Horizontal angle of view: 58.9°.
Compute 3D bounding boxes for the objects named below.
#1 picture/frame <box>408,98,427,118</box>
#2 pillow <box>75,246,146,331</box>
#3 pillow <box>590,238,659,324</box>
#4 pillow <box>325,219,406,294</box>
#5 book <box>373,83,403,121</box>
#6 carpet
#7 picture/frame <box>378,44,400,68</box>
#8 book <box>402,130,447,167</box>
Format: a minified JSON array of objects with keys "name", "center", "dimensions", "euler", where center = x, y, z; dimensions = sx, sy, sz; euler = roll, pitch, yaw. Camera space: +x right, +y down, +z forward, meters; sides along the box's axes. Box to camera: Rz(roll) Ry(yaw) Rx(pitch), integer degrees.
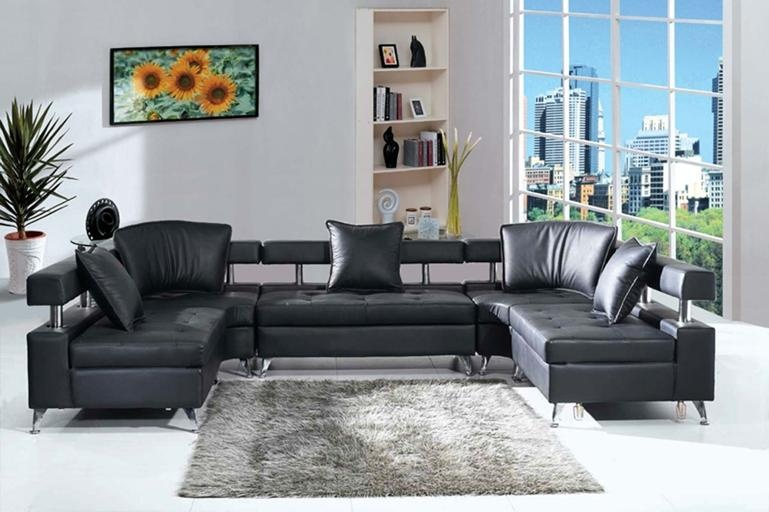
[{"name":"picture/frame","center":[0.373,-1.715,7.874],"dimensions":[0.262,0.316,0.031],"euler":[-6,-14,-29]},{"name":"pillow","center":[-1.837,0.208,4.601],"dimensions":[0.156,0.505,0.518],"euler":[-26,1,11]},{"name":"pillow","center":[1.754,0.176,5.005],"dimensions":[0.469,0.738,0.822],"euler":[1,-1,4]},{"name":"pillow","center":[-0.155,0.015,5.551],"dimensions":[0.612,0.580,0.226],"euler":[-1,-15,-1]},{"name":"book","center":[0.071,-1.717,7.705],"dimensions":[0.387,0.383,0.173],"euler":[-9,13,-39]},{"name":"carpet","center":[-0.042,1.119,4.353],"dimensions":[2.329,0.187,1.309],"euler":[-1,10,-1]},{"name":"picture/frame","center":[0.041,-2.250,7.654],"dimensions":[0.293,0.340,0.034],"euler":[-4,-7,-25]},{"name":"book","center":[0.455,-1.231,7.829],"dimensions":[0.442,0.399,0.303],"euler":[-4,11,-18]}]
